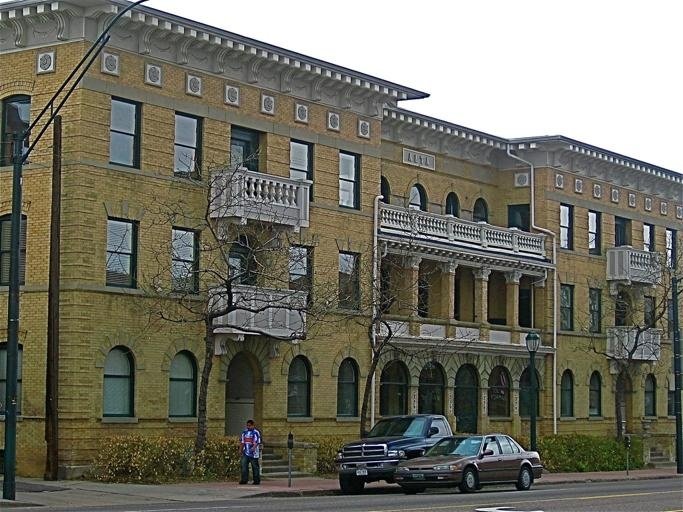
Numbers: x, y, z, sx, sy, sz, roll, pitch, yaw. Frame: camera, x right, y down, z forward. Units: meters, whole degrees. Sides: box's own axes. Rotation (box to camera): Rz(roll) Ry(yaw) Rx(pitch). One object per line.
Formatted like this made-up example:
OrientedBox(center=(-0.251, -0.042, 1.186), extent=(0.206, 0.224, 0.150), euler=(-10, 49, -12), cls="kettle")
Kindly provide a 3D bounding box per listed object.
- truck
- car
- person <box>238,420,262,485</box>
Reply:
OrientedBox(center=(1.931, 6.549, 49.748), extent=(1.993, 1.877, 4.059), euler=(-11, -14, 34), cls="truck")
OrientedBox(center=(4.331, 6.893, 48.635), extent=(5.191, 2.092, 1.413), euler=(11, -18, -35), cls="car")
OrientedBox(center=(-3.053, 6.541, 48.717), extent=(0.696, 2.141, 1.243), euler=(1, -15, -3), cls="person")
